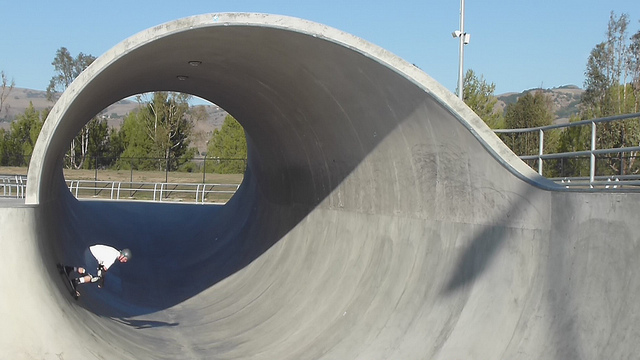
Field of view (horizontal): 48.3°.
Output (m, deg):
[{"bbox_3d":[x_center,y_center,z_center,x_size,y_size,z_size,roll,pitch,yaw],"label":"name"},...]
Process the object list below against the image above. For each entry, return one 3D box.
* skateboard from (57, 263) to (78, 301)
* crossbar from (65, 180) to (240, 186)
[{"bbox_3d":[-6.384,2.513,18.073,0.158,1.304,0.293,-9,8,19],"label":"skateboard"},{"bbox_3d":[-9.067,0.149,37.425,6.954,0.101,0.115,2,-43,-7],"label":"crossbar"}]
